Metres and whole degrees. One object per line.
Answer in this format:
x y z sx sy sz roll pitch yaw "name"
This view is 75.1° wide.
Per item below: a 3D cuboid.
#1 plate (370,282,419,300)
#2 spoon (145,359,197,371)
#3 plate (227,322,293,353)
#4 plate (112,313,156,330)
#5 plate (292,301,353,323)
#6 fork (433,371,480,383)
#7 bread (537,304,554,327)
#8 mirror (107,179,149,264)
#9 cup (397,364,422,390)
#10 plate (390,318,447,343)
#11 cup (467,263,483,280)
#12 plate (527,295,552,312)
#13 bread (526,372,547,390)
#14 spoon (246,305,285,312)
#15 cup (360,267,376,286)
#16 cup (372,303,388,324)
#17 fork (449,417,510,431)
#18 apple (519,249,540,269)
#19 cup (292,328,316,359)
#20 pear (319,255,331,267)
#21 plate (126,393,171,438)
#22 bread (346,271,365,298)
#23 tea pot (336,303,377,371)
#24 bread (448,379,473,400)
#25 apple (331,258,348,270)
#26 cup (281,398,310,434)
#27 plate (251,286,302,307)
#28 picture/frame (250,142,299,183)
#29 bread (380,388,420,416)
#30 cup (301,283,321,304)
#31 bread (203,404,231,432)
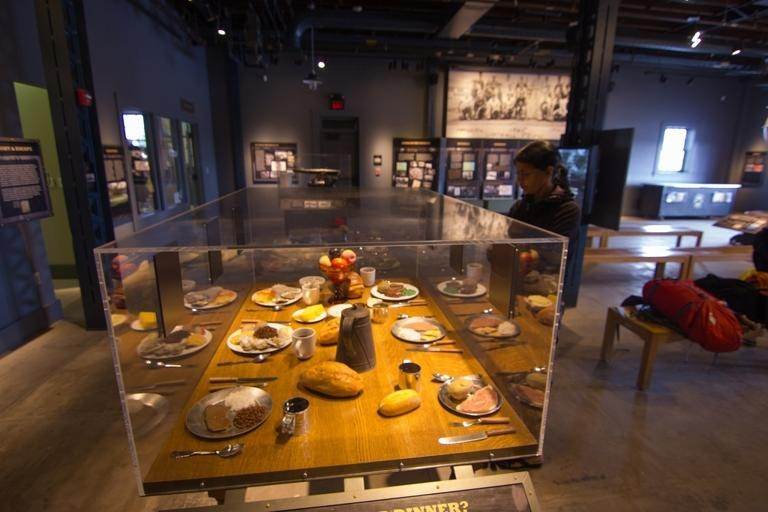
0.091 0.302 4.134 0.234 0.022 0.220 9 19 23 "plate"
-1.317 0.682 3.124 0.342 0.060 0.056 6 -13 -37 "spoon"
-0.900 0.577 3.626 0.453 0.146 0.304 1 15 -5 "plate"
-1.515 0.391 3.034 0.159 0.024 0.142 -3 35 -33 "plate"
-0.495 0.403 3.864 0.346 0.059 0.200 -4 13 -25 "plate"
0.485 0.820 3.362 0.325 0.061 0.069 3 16 3 "fork"
1.033 0.378 3.195 0.107 0.125 0.038 8 19 17 "bread"
-3.355 -0.671 6.548 0.275 0.793 1.097 -2 16 -15 "mirror"
0.170 0.804 3.318 0.138 0.109 0.164 0 4 3 "cup"
0.252 0.552 3.702 0.368 0.103 0.285 -3 16 -18 "plate"
0.632 0.107 3.493 0.123 0.100 0.109 0 16 0 "cup"
0.998 0.300 3.208 0.139 0.089 0.048 0 -29 15 "plate"
0.990 0.800 3.236 0.117 0.029 0.115 -10 17 -35 "bread"
-0.935 0.410 3.936 0.385 0.055 0.049 0 2 -6 "spoon"
-0.140 0.176 4.270 0.163 0.133 0.153 0 6 0 "cup"
-0.036 0.436 3.851 0.125 0.101 0.146 0 1 -10 "cup"
0.614 1.067 3.183 0.472 0.044 0.060 -1 31 -1 "fork"
0.936 0.020 3.271 0.138 0.110 0.126 -3 1 -6 "apple"
-0.569 0.615 3.529 0.152 0.195 0.143 2 17 -1 "cup"
-0.466 0.041 3.936 0.098 0.042 0.086 0 24 -9 "pear"
-1.447 0.955 3.005 0.278 0.234 0.070 1 -20 -13 "plate"
-0.225 0.229 4.134 0.116 0.212 0.171 4 17 5 "bread"
-0.191 0.573 3.438 0.254 0.415 0.245 2 17 -1 "tea pot"
0.493 0.866 3.263 0.128 0.074 0.142 5 11 16 "bread"
-0.348 0.059 3.928 0.108 0.050 0.095 3 29 0 "apple"
-0.569 1.011 3.172 0.174 0.191 0.152 0 17 -7 "cup"
-0.852 0.330 4.038 0.246 0.038 0.233 15 23 35 "plate"
-2.211 -1.857 10.072 0.913 0.828 0.205 -2 19 -13 "picture/frame"
0.101 0.937 3.216 0.262 0.084 0.131 -6 26 -7 "bread"
-0.579 0.302 4.047 0.175 0.128 0.158 -1 7 -20 "cup"
-1.056 1.023 3.168 0.144 0.124 0.156 -7 19 -30 "bread"
